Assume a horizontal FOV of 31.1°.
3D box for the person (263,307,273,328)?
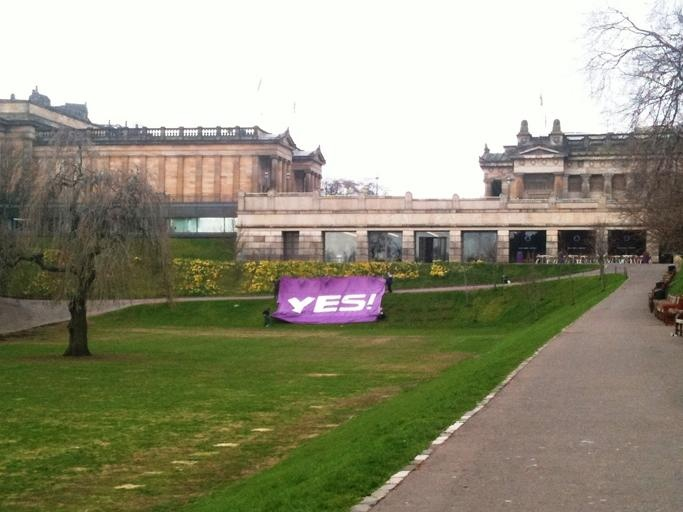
[{"bbox_3d":[-4.378,3.570,71.504,0.537,0.945,1.230,-10,3,-5],"label":"person"}]
